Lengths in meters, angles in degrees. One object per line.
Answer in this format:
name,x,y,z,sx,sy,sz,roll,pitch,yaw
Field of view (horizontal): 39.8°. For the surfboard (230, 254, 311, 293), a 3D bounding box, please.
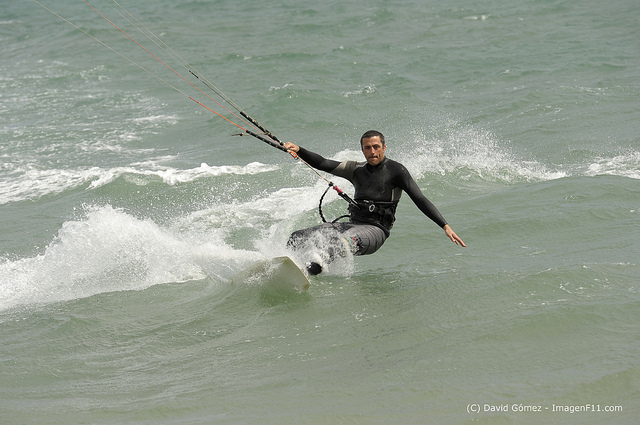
surfboard,-0.735,1.017,14.913,1.348,0.576,0.526,15,67,14
